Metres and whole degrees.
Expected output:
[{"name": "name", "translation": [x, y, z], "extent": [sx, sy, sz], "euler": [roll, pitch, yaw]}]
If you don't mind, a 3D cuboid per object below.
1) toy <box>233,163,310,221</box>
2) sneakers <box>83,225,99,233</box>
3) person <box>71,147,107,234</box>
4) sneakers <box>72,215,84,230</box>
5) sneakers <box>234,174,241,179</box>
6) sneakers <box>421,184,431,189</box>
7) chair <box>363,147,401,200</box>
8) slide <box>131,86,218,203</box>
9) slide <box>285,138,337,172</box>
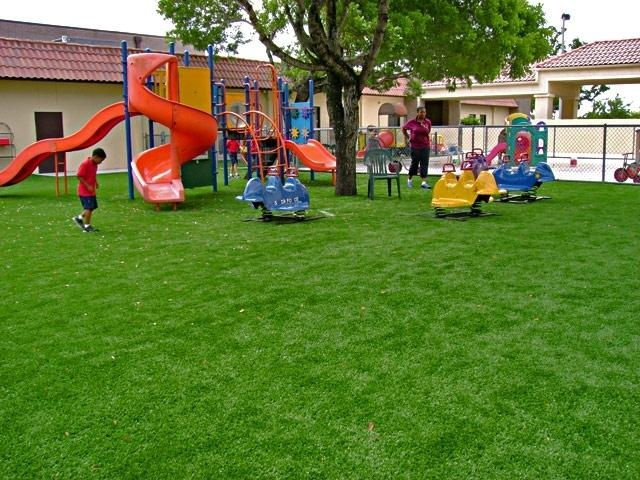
[{"name": "toy", "translation": [-0.860, -0.922, 10.618], "extent": [1.457, 0.830, 1.005], "euler": [-8, 20, -31]}, {"name": "sneakers", "translation": [-4.203, -0.196, 9.785], "extent": [0.322, 0.155, 0.133], "euler": [2, 10, 13]}, {"name": "person", "translation": [-4.210, -0.918, 9.804], "extent": [0.564, 1.503, 1.993], "euler": [-7, 14, -25]}, {"name": "sneakers", "translation": [-4.520, -0.315, 10.073], "extent": [0.129, 0.287, 0.104], "euler": [-34, 0, 12]}, {"name": "sneakers", "translation": [-3.175, -2.459, 20.943], "extent": [0.352, 0.251, 0.121], "euler": [-5, 17, -8]}, {"name": "sneakers", "translation": [3.001, -1.551, 15.564], "extent": [0.128, 0.151, 0.350], "euler": [-2, -2, -11]}, {"name": "chair", "translation": [1.514, -1.640, 13.439], "extent": [0.787, 1.223, 0.862], "euler": [-3, 8, -9]}, {"name": "slide", "translation": [-3.636, -2.421, 13.714], "extent": [2.521, 3.571, 2.653], "euler": [-1, 3, -11]}, {"name": "slide", "translation": [-0.179, -2.665, 17.529], "extent": [1.575, 0.768, 1.050], "euler": [15, 24, 40]}]
